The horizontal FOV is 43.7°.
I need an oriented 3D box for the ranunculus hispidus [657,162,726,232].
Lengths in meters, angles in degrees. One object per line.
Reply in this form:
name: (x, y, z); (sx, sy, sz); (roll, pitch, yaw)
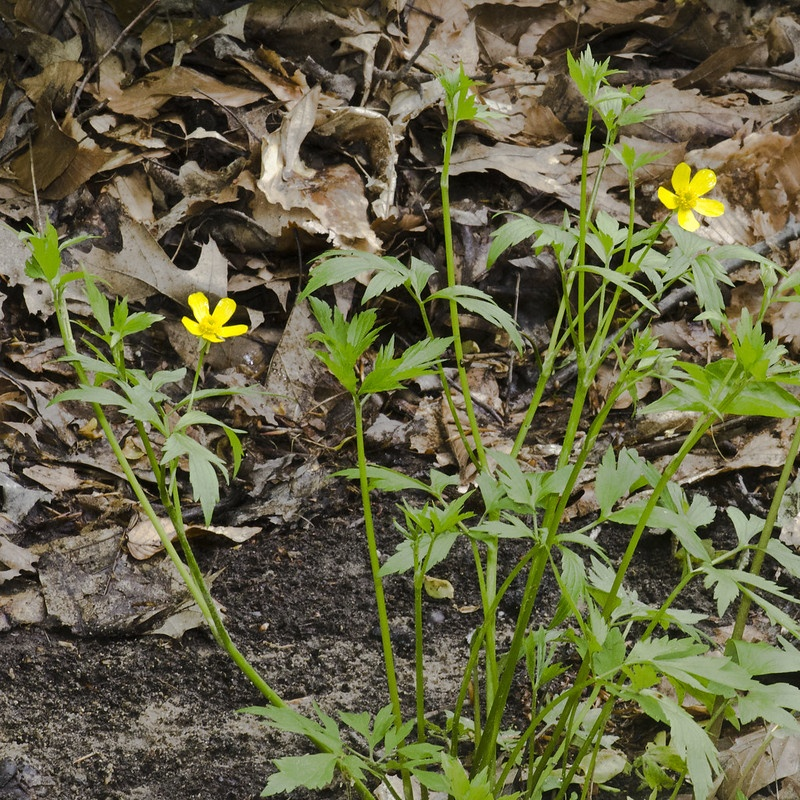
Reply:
ranunculus hispidus: (0.826, -0.572, 2.882); (0.226, 0.206, 0.068); (-15, 74, -5)

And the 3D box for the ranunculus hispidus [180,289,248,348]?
ranunculus hispidus: (-0.559, -0.232, 3.008); (0.189, 0.172, 0.062); (15, 62, 32)
